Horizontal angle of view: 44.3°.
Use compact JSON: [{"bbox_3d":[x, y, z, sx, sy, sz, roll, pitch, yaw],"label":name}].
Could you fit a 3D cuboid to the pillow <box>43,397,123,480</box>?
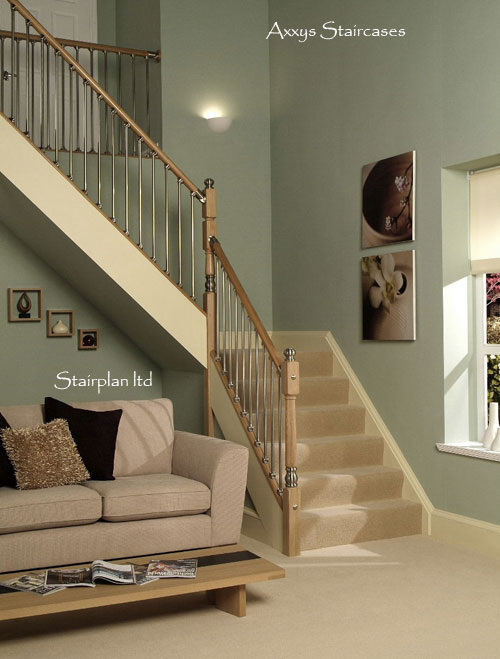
[{"bbox_3d":[-0.891,0.590,3.255,0.372,0.378,0.134,11,-34,-38],"label":"pillow"}]
